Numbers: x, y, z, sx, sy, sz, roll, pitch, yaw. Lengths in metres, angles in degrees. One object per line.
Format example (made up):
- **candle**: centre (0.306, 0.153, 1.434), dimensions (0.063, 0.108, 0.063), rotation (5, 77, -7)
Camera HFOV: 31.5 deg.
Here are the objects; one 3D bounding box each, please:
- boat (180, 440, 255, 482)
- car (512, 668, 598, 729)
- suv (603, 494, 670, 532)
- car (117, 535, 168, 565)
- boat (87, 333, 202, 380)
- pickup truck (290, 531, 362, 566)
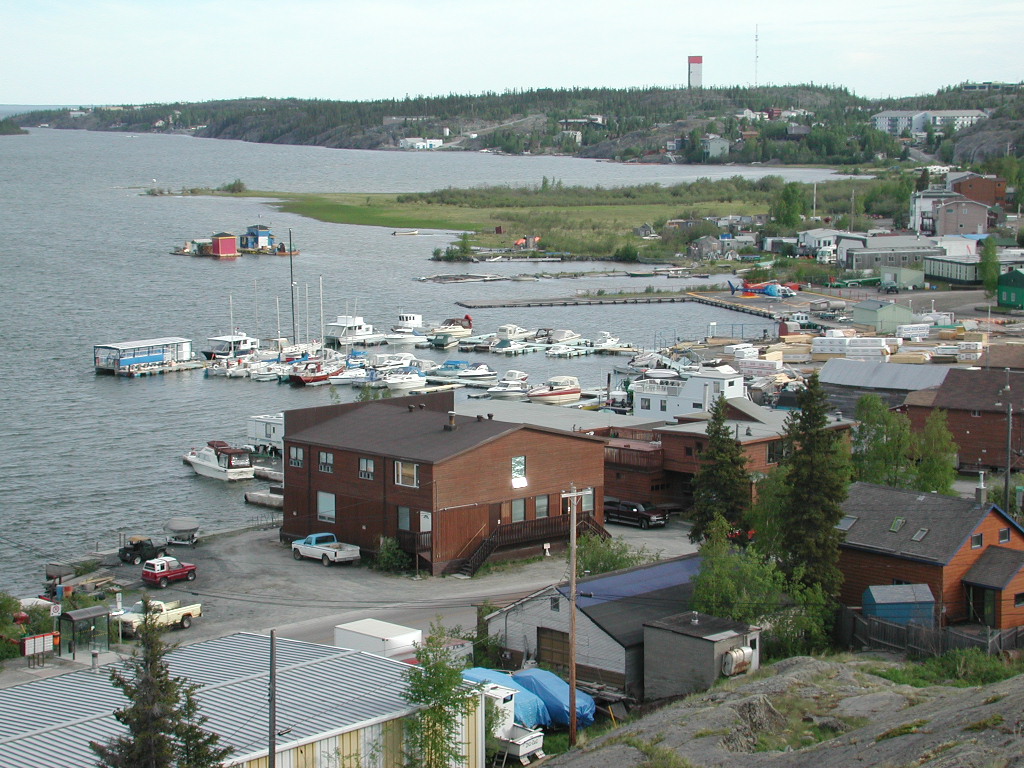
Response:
- **boat**: centre (-14.345, 3.707, 87.632), dimensions (1.706, 1.266, 3.557), rotation (-6, 6, -39)
- **car**: centre (1.423, 10.048, 59.152), dimensions (2.647, 0.932, 1.469), rotation (20, 17, 37)
- **suv**: centre (5.194, 5.521, 76.788), dimensions (2.500, 0.769, 1.130), rotation (1, 4, 37)
- **car**: centre (-14.793, 6.578, 72.509), dimensions (1.650, 0.823, 0.997), rotation (-7, 12, -25)
- **boat**: centre (-23.621, -1.661, 116.971), dimensions (6.482, 2.105, 3.001), rotation (-11, 14, -41)
- **pickup truck**: centre (-7.507, 6.633, 72.081), dimensions (2.443, 0.851, 1.208), rotation (8, 9, 42)
